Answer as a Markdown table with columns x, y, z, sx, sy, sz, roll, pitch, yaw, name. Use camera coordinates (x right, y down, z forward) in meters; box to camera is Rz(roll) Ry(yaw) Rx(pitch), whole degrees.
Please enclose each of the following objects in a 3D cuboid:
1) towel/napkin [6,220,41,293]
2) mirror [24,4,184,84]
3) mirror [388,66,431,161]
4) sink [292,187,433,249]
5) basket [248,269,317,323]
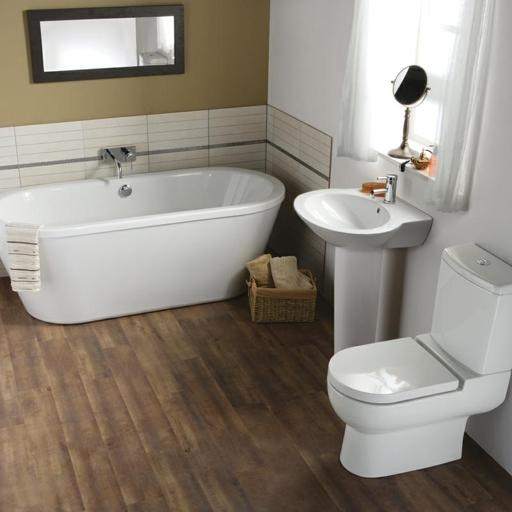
| x | y | z | sx | sy | sz | roll | pitch | yaw | name |
| --- | --- | --- | --- | --- | --- | --- | --- | --- | --- |
| -1.256 | 0.008 | 2.506 | 0.189 | 0.376 | 0.064 | 0 | 23 | -6 | towel/napkin |
| -0.988 | -1.430 | 3.077 | 1.011 | 0.502 | 0.103 | -9 | 25 | -25 | mirror |
| 0.700 | -0.670 | 2.142 | 0.177 | 0.408 | 0.140 | 12 | 25 | 23 | mirror |
| 0.455 | -0.158 | 2.182 | 0.515 | 0.224 | 0.551 | -8 | 26 | -23 | sink |
| 0.163 | 0.271 | 2.852 | 0.303 | 0.206 | 0.319 | 0 | 20 | -3 | basket |
